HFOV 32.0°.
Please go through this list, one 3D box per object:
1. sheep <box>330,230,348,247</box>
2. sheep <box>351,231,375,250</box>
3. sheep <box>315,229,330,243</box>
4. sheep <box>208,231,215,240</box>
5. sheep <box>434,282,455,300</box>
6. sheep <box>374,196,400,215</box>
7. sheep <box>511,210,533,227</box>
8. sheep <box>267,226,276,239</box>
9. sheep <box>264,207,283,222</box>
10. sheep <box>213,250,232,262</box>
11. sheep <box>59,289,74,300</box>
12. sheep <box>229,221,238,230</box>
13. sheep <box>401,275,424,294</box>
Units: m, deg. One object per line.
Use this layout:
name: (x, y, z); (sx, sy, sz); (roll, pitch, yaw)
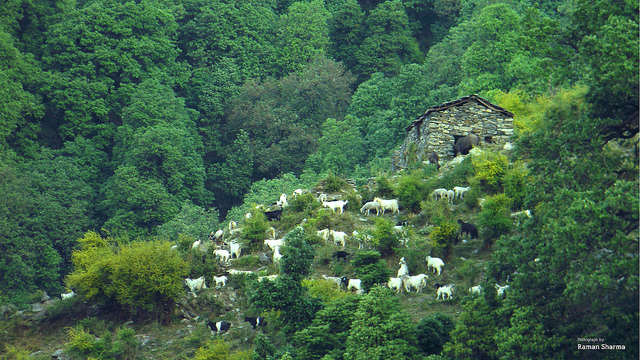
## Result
sheep: (1.608, 5.109, 98.472); (1.571, 1.104, 1.042); (6, 36, 29)
sheep: (3.796, 5.176, 97.609); (1.304, 0.708, 1.553); (8, 46, -1)
sheep: (0.317, 4.823, 98.957); (1.001, 0.570, 0.897); (13, -17, 4)
sheep: (-10.338, 5.288, 107.093); (0.574, 0.725, 1.152); (-3, 9, -1)
sheep: (10.513, 9.400, 93.444); (1.664, 0.903, 1.055); (-12, 31, 3)
sheep: (6.164, 2.269, 100.564); (1.831, 1.339, 0.852); (-5, 32, 15)
sheep: (16.890, 3.161, 92.996); (1.470, 0.982, 1.306); (-3, 5, -3)
sheep: (-4.280, 4.788, 100.569); (0.740, 0.898, 0.365); (-6, -9, 21)
sheep: (-4.164, 3.003, 102.395); (1.652, 0.750, 1.439); (-13, 31, 1)
sheep: (-8.664, 6.805, 99.455); (1.266, 0.954, 0.965); (-11, 31, 5)
sheep: (-22.453, 10.447, 99.724); (1.204, 0.666, 1.185); (3, 0, -18)
sheep: (-8.090, 4.175, 104.346); (0.659, 0.423, 0.771); (1, 9, 2)
sheep: (8.027, 8.831, 94.160); (1.991, 1.245, 0.921); (-11, 31, 4)
